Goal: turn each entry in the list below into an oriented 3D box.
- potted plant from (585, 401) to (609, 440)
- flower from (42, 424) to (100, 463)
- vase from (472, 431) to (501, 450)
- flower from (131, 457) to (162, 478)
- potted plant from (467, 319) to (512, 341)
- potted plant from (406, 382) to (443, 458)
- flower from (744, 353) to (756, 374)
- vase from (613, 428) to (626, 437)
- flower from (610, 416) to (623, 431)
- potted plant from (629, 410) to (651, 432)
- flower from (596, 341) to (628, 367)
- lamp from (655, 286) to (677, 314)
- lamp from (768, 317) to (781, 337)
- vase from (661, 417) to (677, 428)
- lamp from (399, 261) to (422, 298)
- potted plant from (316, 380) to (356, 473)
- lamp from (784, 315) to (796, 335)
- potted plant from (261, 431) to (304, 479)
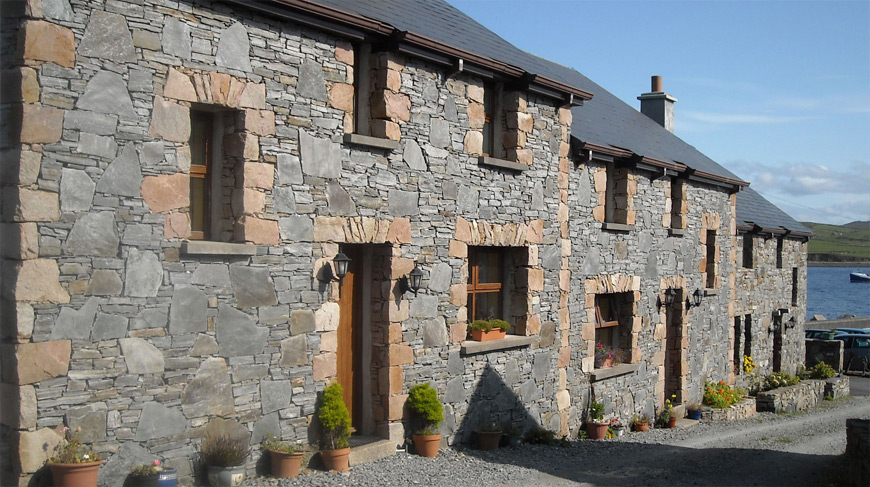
[{"bbox_3d":[4.447,4.954,20.979,0.885,1.186,0.853,2,-13,4],"label":"potted plant"},{"bbox_3d":[-6.433,3.548,13.326,0.644,0.389,0.681,3,-8,-8],"label":"flower"},{"bbox_3d":[1.277,4.663,17.964,0.569,0.329,0.452,1,-11,-1],"label":"vase"},{"bbox_3d":[-5.252,4.102,13.767,0.291,0.162,0.396,-5,-7,25],"label":"flower"},{"bbox_3d":[1.344,2.117,18.463,0.983,0.493,0.480,0,-1,-42],"label":"potted plant"},{"bbox_3d":[-0.250,3.935,16.740,0.791,1.610,0.258,-1,-1,-7],"label":"potted plant"},{"bbox_3d":[12.006,4.636,28.573,0.320,0.595,0.950,-1,-1,26],"label":"flower"},{"bbox_3d":[5.274,5.388,21.363,0.321,0.213,0.351,0,-6,1],"label":"vase"},{"bbox_3d":[5.175,5.155,21.330,0.425,0.405,0.413,1,-6,-12],"label":"flower"},{"bbox_3d":[6.175,5.307,22.570,0.610,0.414,0.592,2,-11,-10],"label":"potted plant"},{"bbox_3d":[5.055,3.202,21.602,0.766,0.266,0.748,1,0,-40],"label":"flower"},{"bbox_3d":[7.414,1.763,23.791,0.779,0.990,0.777,0,4,20],"label":"lamp"},{"bbox_3d":[14.105,3.386,30.847,0.739,0.732,0.189,-1,7,-31],"label":"lamp"},{"bbox_3d":[7.298,5.557,23.357,0.342,0.225,0.344,0,-7,-4],"label":"vase"},{"bbox_3d":[-0.530,0.819,16.643,0.385,0.621,0.391,-2,-1,40],"label":"lamp"},{"bbox_3d":[-2.117,3.797,15.543,0.675,1.797,0.394,-1,-1,-5],"label":"potted plant"},{"bbox_3d":[15.143,3.449,31.848,0.254,0.728,0.528,12,4,-3],"label":"lamp"},{"bbox_3d":[-3.014,4.269,14.963,0.748,0.776,0.347,-1,-1,24],"label":"potted plant"}]
